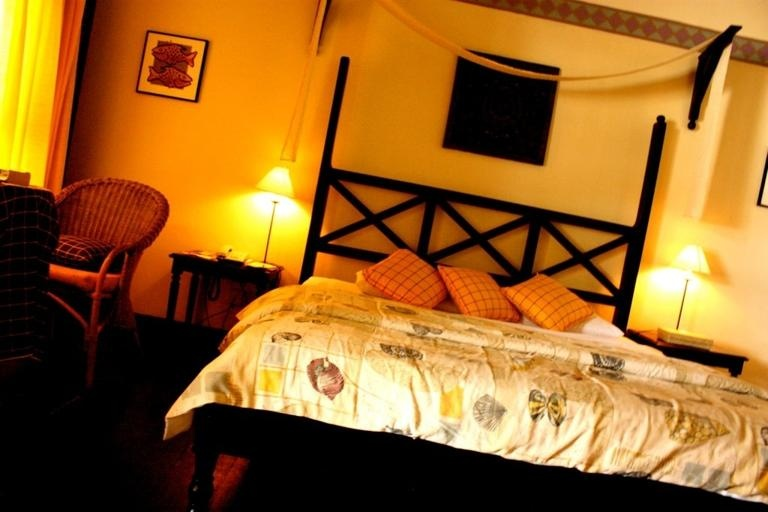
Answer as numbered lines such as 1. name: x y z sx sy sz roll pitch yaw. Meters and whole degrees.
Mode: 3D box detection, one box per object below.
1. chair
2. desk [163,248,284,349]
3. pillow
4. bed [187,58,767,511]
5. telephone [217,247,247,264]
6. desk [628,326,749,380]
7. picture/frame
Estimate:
1. chair: -2.097 0.108 4.116 0.901 1.316 0.796 9 6 13
2. desk: -1.357 0.215 4.896 0.962 0.883 0.652 7 1 11
3. pillow: 0.789 0.272 4.543 2.005 0.333 0.451 8 6 -1
4. bed: 0.472 0.061 4.151 2.476 2.307 1.819 15 4 -6
5. telephone: -1.233 -0.001 4.679 0.159 0.055 0.161 9 18 17
6. desk: 2.494 0.611 4.737 0.491 0.581 0.623 -3 14 -33
7. picture/frame: -1.855 -1.664 5.009 0.553 0.580 0.040 8 4 -3
